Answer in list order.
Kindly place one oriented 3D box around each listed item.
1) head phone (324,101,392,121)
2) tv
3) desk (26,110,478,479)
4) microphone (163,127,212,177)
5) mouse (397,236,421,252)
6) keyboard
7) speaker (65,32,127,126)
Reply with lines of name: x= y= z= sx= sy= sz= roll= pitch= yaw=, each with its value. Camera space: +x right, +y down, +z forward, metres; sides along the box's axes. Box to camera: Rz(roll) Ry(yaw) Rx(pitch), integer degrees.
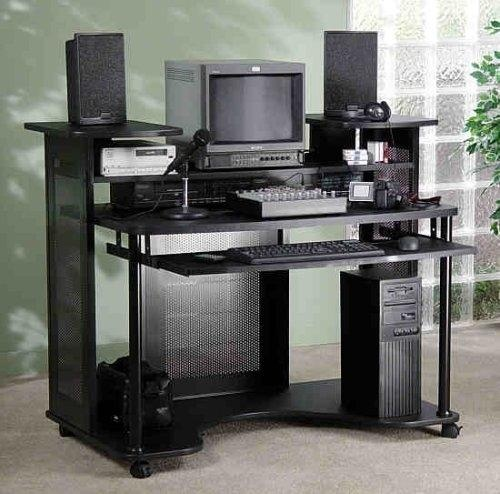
head phone: x=0.446 y=-0.543 z=2.398 sx=0.189 sy=0.048 sz=0.121 roll=1 pitch=10 yaw=9
tv: x=-0.135 y=-0.533 z=2.390 sx=0.572 sy=0.386 sz=0.553 roll=12 pitch=20 yaw=37
desk: x=-0.059 y=0.203 z=2.329 sx=1.767 sy=1.014 sz=1.062 roll=-4 pitch=7 yaw=-32
microphone: x=-0.222 y=-0.332 z=2.088 sx=0.168 sy=0.163 sz=0.291 roll=0 pitch=4 yaw=-4
mouse: x=0.589 y=-0.012 z=2.177 sx=0.071 sy=0.038 sz=0.063 roll=-3 pitch=4 yaw=-19
keyboard: x=0.196 y=0.016 z=2.024 sx=0.545 sy=0.060 sz=0.207 roll=-2 pitch=4 yaw=-28
speaker: x=-0.552 y=-0.599 z=2.107 sx=0.196 sy=0.340 sz=0.210 roll=-1 pitch=5 yaw=-15
